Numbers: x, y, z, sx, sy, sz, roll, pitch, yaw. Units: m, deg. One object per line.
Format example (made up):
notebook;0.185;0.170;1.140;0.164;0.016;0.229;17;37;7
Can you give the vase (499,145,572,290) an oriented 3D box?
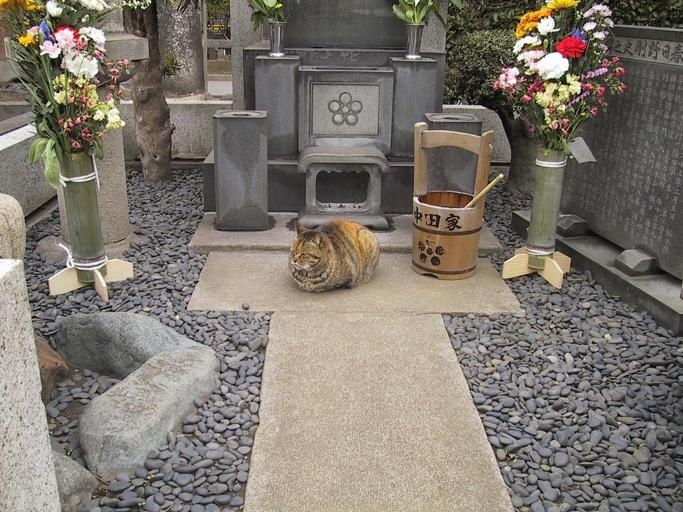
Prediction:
vase;1.620;-0.341;3.907;0.433;1.075;0.407;6;28;18

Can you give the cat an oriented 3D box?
cat;-0.054;-0.034;3.883;0.438;0.411;0.714;23;34;31

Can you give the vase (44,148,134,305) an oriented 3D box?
vase;-1.733;-0.227;3.302;0.468;0.897;0.465;-2;19;-11

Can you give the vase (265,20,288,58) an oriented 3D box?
vase;-0.655;-2.155;4.872;0.151;0.338;0.355;-2;22;-6

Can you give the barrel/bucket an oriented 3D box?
barrel/bucket;0.902;-0.489;4.165;0.619;1.209;0.746;4;22;8
